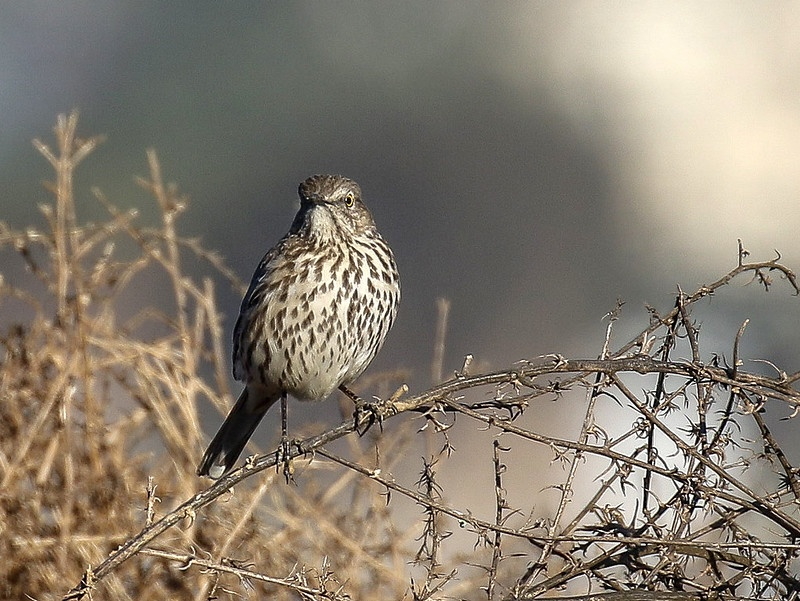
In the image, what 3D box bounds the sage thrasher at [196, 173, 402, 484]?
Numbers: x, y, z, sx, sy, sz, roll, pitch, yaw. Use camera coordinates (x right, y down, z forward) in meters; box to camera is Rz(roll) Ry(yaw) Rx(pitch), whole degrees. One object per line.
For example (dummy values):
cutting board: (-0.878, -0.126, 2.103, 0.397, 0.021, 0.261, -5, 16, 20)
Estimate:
sage thrasher: (-0.392, 0.217, 5.035, 0.636, 1.338, 0.960, 25, -52, -9)
